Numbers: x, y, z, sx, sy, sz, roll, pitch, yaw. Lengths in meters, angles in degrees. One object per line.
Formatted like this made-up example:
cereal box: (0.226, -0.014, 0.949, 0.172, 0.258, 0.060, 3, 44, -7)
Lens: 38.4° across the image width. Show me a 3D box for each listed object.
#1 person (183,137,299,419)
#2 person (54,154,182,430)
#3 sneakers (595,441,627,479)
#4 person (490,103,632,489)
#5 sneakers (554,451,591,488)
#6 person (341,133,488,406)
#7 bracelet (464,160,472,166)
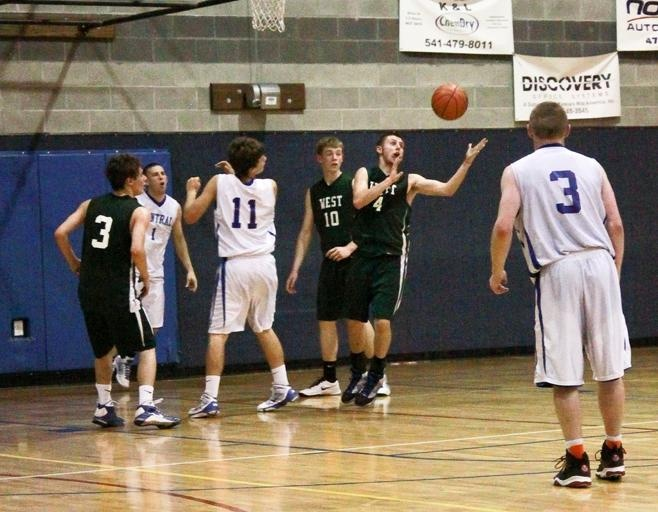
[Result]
person: (-0.747, 0.175, 7.919, 0.883, 2.249, 0.390, -2, 0, -8)
person: (-1.656, 0.289, 7.333, 0.789, 2.126, 0.509, -1, 0, 28)
sneakers: (1.632, 1.202, 5.464, 0.109, 0.195, 0.265, 0, -4, 8)
person: (1.343, 0.201, 5.505, 0.762, 1.893, 0.352, -1, 0, 17)
sneakers: (1.408, 1.245, 5.476, 0.116, 0.162, 0.312, -1, -5, 2)
person: (0.494, 0.121, 8.245, 0.884, 2.164, 1.508, -2, 1, -28)
bracelet: (1.081, -0.724, 7.348, 0.048, 0.058, 0.083, 7, 1, -4)
